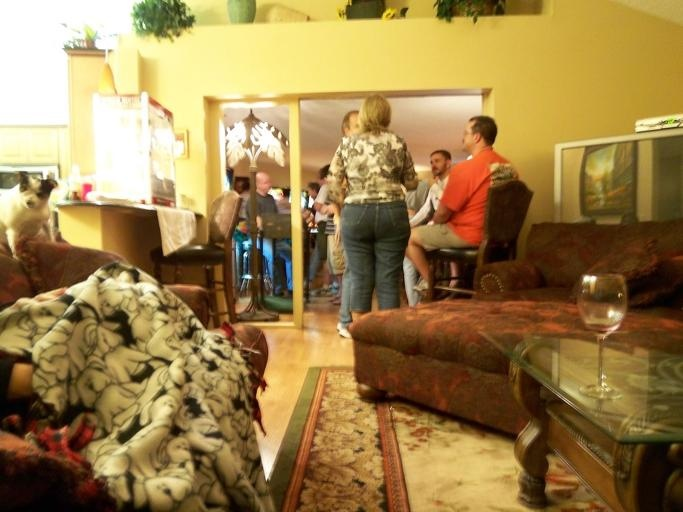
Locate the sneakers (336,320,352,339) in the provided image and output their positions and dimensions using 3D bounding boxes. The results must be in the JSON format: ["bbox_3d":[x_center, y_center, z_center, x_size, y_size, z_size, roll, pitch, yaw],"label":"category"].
[{"bbox_3d":[0.004,0.593,4.192,0.075,0.105,0.229,-1,4,-15],"label":"sneakers"}]

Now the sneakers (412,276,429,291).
[{"bbox_3d":[0.703,0.253,4.696,0.098,0.134,0.307,1,-6,1],"label":"sneakers"}]

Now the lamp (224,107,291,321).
[{"bbox_3d":[-0.863,-0.362,5.072,0.612,2.048,0.643,-1,3,-5],"label":"lamp"}]

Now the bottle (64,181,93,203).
[{"bbox_3d":[-1.562,-0.382,3.096,0.142,0.128,0.336,-4,6,-25],"label":"bottle"}]

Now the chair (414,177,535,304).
[{"bbox_3d":[1.028,-0.081,3.885,0.554,1.017,0.590,-6,11,-33],"label":"chair"}]

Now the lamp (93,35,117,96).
[{"bbox_3d":[-1.616,-1.271,3.594,0.124,0.300,0.129,9,13,25],"label":"lamp"}]

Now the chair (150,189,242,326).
[{"bbox_3d":[-1.138,0.065,4.142,0.647,1.156,0.520,-3,8,-38],"label":"chair"}]

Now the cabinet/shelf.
[{"bbox_3d":[-1.428,-0.686,3.618,0.588,0.751,0.595,6,8,44],"label":"cabinet/shelf"}]
